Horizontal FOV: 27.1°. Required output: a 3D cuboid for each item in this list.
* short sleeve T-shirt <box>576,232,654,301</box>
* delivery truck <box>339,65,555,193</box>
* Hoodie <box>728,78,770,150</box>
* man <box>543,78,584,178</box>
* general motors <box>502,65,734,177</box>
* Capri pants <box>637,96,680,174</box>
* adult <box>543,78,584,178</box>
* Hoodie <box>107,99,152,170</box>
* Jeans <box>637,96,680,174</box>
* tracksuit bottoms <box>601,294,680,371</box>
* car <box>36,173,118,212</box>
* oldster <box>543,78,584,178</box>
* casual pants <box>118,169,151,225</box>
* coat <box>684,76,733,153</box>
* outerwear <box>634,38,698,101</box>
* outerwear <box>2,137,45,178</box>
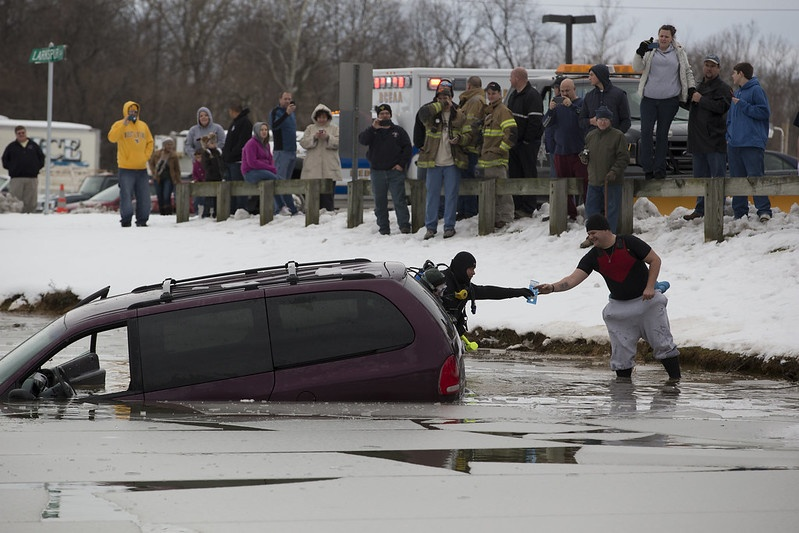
[{"bbox_3d":[3.691,0.039,27.869,0.919,0.711,0.376,-30,13,16],"label":"short sleeve T-shirt"},{"bbox_3d":[1.264,-3.235,37.889,4.405,2.601,2.592,0,3,-4],"label":"delivery truck"},{"bbox_3d":[6.486,-2.790,30.516,0.753,1.353,0.521,1,15,11],"label":"Hoodie"},{"bbox_3d":[3.309,-2.674,32.410,0.560,1.980,1.160,-11,18,-32],"label":"man"},{"bbox_3d":[4.427,-2.923,35.125,3.723,2.294,2.015,8,12,11],"label":"general motors"},{"bbox_3d":[4.984,-2.515,31.400,0.714,1.827,0.626,1,-22,11],"label":"Capri pants"},{"bbox_3d":[3.307,-2.676,32.416,0.527,1.980,1.121,-13,18,-36],"label":"adult"},{"bbox_3d":[-5.794,-2.870,36.093,0.886,1.533,0.709,-3,15,-6],"label":"Hoodie"},{"bbox_3d":[4.991,-2.512,31.386,0.714,1.812,0.594,3,-21,6],"label":"Jeans"},{"bbox_3d":[4.093,1.122,27.784,1.083,1.245,0.483,-9,-2,11],"label":"tracksuit bottoms"},{"bbox_3d":[-9.076,-2.183,48.216,1.737,0.974,0.988,-2,1,-40],"label":"car"},{"bbox_3d":[3.304,-2.676,32.419,0.527,1.980,1.129,-13,18,-36],"label":"oldster"},{"bbox_3d":[-5.826,-1.674,36.804,0.676,1.621,0.468,0,9,-11],"label":"casual pants"},{"bbox_3d":[5.833,-2.868,31.223,0.665,1.360,1.074,5,7,-36],"label":"coat"},{"bbox_3d":[5.080,-3.693,31.114,1.100,1.091,0.709,-1,15,6],"label":"outerwear"},{"bbox_3d":[-8.894,-2.594,39.442,1.305,1.268,0.786,-3,2,-22],"label":"outerwear"}]
